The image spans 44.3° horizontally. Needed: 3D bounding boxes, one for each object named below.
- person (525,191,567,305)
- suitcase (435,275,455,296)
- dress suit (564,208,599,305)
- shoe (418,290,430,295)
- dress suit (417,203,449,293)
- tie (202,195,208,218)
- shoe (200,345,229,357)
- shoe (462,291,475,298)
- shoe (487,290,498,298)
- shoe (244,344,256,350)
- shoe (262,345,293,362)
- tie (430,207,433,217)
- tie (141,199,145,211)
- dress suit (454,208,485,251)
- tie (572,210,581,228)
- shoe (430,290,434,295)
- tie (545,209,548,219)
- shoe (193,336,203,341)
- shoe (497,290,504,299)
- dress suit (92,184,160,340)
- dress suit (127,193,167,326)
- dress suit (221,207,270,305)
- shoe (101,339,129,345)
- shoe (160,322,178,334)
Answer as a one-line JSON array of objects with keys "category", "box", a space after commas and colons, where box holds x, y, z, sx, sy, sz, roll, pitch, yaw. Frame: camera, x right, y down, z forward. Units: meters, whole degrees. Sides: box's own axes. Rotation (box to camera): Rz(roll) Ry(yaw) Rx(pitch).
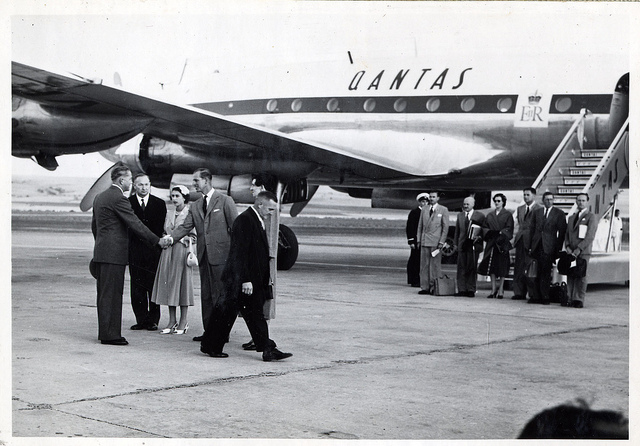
[{"category": "person", "box": [4.012, 0.472, 13.801, 0.632, 1.873, 0.364, 5, -1, 14]}, {"category": "suitcase", "box": [2.370, 1.200, 14.765, 0.385, 0.336, 0.145, 2, -11, -27]}, {"category": "dress suit", "box": [4.527, 0.603, 13.556, 0.488, 1.608, 0.484, 5, 13, 15]}, {"category": "shoe", "box": [1.990, 1.321, 14.791, 0.142, 0.079, 0.253, 4, -1, 43]}, {"category": "dress suit", "box": [2.184, 0.480, 15.169, 0.607, 1.622, 0.456, 3, 2, 36]}, {"category": "tie", "box": [-1.543, -0.219, 10.665, 0.037, 0.372, 0.043, 0, -10, 6]}, {"category": "shoe", "box": [-1.301, 1.612, 9.734, 0.373, 0.143, 0.124, 3, 1, -2]}, {"category": "shoe", "box": [2.827, 1.351, 14.691, 0.240, 0.106, 0.225, 5, -1, -4]}, {"category": "shoe", "box": [3.242, 1.335, 14.584, 0.175, 0.133, 0.331, 5, -1, 12]}, {"category": "shoe", "box": [-0.880, 1.624, 10.132, 0.176, 0.067, 0.058, 3, -6, 1]}, {"category": "shoe", "box": [-0.484, 1.600, 9.529, 0.446, 0.195, 0.144, -2, -1, -7]}, {"category": "tie", "box": [2.194, -0.195, 15.218, 0.046, 0.185, 0.188, 6, -3, 5]}, {"category": "tie", "box": [-2.517, -0.245, 11.243, 0.036, 0.171, 0.009, 1, -26, -15]}, {"category": "dress suit", "box": [2.888, 0.140, 14.939, 0.558, 0.766, 0.383, 4, -1, 26]}, {"category": "tie", "box": [4.452, -0.030, 13.533, 0.084, 0.229, 0.079, 5, -1, -40]}, {"category": "shoe", "box": [2.146, 1.323, 14.791, 0.068, 0.080, 0.113, 5, -1, -5]}, {"category": "tie", "box": [4.009, -0.145, 13.802, 0.046, 0.178, 0.020, 10, -32, 3]}, {"category": "shoe", "box": [-1.618, 1.569, 10.537, 0.143, 0.062, 0.053, -4, -5, 16]}, {"category": "shoe", "box": [3.389, 1.364, 14.590, 0.083, 0.124, 0.459, 5, -1, 14]}, {"category": "dress suit", "box": [-2.686, 0.424, 10.715, 0.807, 2.261, 1.212, 1, 2, -38]}, {"category": "dress suit", "box": [-2.488, 0.524, 11.308, 0.708, 2.020, 0.643, -3, 9, -22]}, {"category": "dress suit", "box": [-0.859, 0.370, 9.618, 0.569, 1.161, 0.212, 5, -1, -7]}, {"category": "shoe", "box": [-2.632, 1.560, 10.180, 0.325, 0.130, 0.107, 1, -4, -11]}, {"category": "shoe", "box": [-2.105, 1.500, 11.074, 0.122, 0.083, 0.321, -15, -6, 37]}]
